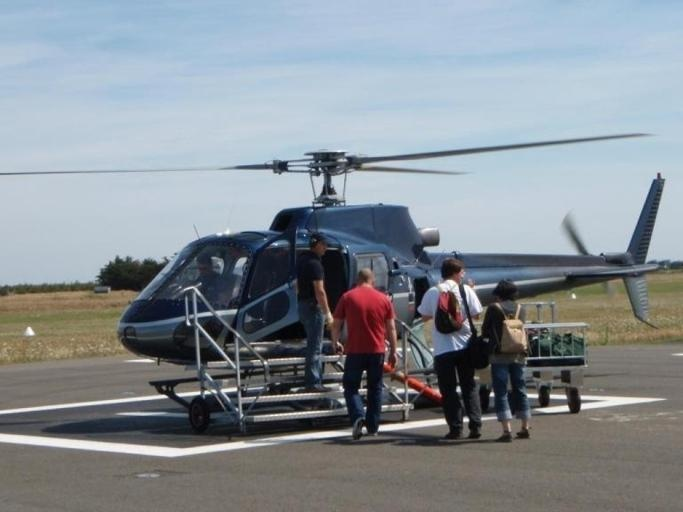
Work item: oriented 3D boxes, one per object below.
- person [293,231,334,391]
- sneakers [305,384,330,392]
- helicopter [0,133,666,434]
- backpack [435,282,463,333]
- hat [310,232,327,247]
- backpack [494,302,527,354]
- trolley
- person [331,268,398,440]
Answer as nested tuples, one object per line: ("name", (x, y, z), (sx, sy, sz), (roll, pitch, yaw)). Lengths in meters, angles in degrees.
("person", (-0.399, 0.848, 16.007), (0.501, 1.674, 0.727), (-2, -1, -4))
("sneakers", (-0.379, 2.013, 16.161), (0.429, 0.153, 0.138), (-1, 2, -12))
("helicopter", (0.565, 0.654, 18.197), (7.142, 2.571, 6.277), (4, -4, -34))
("backpack", (1.521, 0.766, 15.225), (0.475, 0.621, 0.343), (-1, 8, -2))
("hat", (-0.391, -0.249, 16.167), (0.225, 0.196, 0.176), (25, -16, -25))
("backpack", (2.428, 1.039, 15.080), (0.414, 0.590, 0.338), (-2, -1, -9))
("trolley", (3.414, 1.710, 18.423), (1.617, 1.864, 2.781), (-1, 4, 0))
("person", (0.340, 1.422, 15.515), (0.928, 1.830, 0.506), (-2, -1, 2))
